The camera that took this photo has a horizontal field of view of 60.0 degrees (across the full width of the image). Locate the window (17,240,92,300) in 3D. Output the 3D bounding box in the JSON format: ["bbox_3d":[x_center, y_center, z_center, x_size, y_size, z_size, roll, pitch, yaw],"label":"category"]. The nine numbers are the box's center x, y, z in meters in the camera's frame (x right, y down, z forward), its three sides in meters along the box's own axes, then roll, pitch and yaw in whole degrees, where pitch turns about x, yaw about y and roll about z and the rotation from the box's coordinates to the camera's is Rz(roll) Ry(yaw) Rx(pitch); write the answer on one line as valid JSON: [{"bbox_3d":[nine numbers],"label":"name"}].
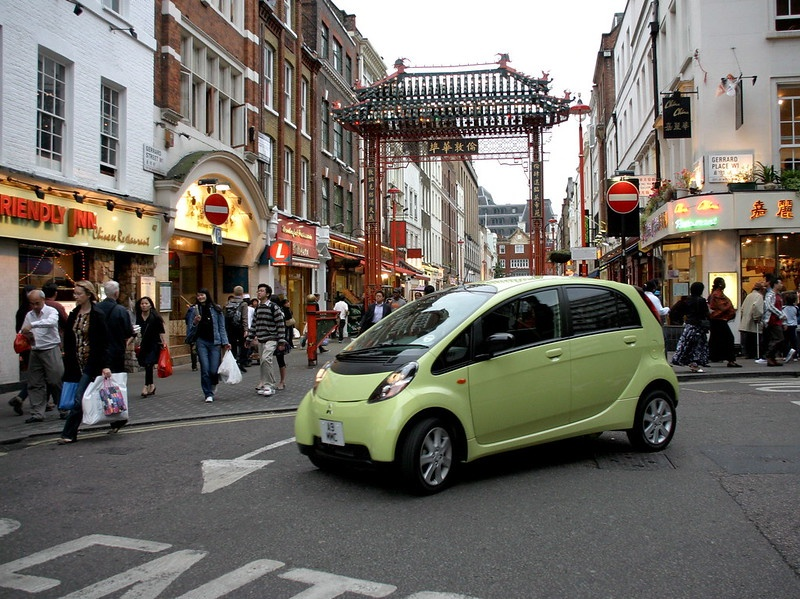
[{"bbox_3d":[-7.898,-0.397,15.710,1.658,1.477,0.109,-3,-7,-9],"label":"window"}]

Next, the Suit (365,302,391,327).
[{"bbox_3d":[-0.539,0.353,16.757,0.478,0.638,0.302,3,-13,1],"label":"Suit"}]

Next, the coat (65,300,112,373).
[{"bbox_3d":[-4.628,0.656,10.299,0.908,1.126,0.268,2,5,34],"label":"coat"}]

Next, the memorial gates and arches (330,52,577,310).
[{"bbox_3d":[1.688,-5.586,34.858,14.068,18.092,4.523,-1,-5,16],"label":"memorial gates and arches"}]

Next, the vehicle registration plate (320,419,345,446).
[{"bbox_3d":[-0.747,1.475,7.684,0.397,0.274,0.045,3,5,44],"label":"vehicle registration plate"}]

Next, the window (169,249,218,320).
[{"bbox_3d":[-6.417,-0.622,21.629,1.980,1.583,0.063,-5,-4,-1],"label":"window"}]

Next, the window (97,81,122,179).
[{"bbox_3d":[-7.237,-4.266,17.513,0.223,2.299,0.842,0,4,9],"label":"window"}]

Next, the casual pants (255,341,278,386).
[{"bbox_3d":[-2.596,1.219,13.923,0.233,1.116,0.313,-1,-12,-9],"label":"casual pants"}]

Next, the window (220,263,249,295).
[{"bbox_3d":[-5.495,-0.675,23.002,0.914,1.097,0.091,5,-11,-40],"label":"window"}]

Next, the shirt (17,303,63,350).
[{"bbox_3d":[-6.018,0.485,11.828,0.463,0.806,0.682,-4,-10,6],"label":"shirt"}]

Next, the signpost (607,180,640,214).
[{"bbox_3d":[4.591,-2.126,14.450,0.555,0.683,0.564,0,4,14],"label":"signpost"}]

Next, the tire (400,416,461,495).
[{"bbox_3d":[0.318,1.723,7.618,0.216,0.832,0.715,0,-9,39],"label":"tire"}]

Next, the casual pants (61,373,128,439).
[{"bbox_3d":[-4.462,1.559,10.208,0.829,0.962,0.339,1,-2,-43],"label":"casual pants"}]

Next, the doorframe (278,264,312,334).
[{"bbox_3d":[-4.217,-0.286,30.258,1.154,2.738,1.641,1,8,40],"label":"doorframe"}]

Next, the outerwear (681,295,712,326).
[{"bbox_3d":[6.586,0.244,15.548,0.302,0.642,0.521,-13,14,-42],"label":"outerwear"}]

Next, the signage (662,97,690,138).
[{"bbox_3d":[8.224,-5.564,20.755,0.808,0.166,1.602,7,-39,29],"label":"signage"}]

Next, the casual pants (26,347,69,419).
[{"bbox_3d":[-6.052,1.326,11.996,0.540,1.299,0.373,-4,20,-33],"label":"casual pants"}]

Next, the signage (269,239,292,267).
[{"bbox_3d":[-4.081,-1.553,22.908,0.896,1.012,0.222,-2,5,-37],"label":"signage"}]

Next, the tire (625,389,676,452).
[{"bbox_3d":[3.256,1.562,8.971,0.622,0.776,0.214,-1,-1,-22],"label":"tire"}]

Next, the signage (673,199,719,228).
[{"bbox_3d":[8.454,-2.424,19.895,1.174,0.786,0.796,0,1,38],"label":"signage"}]
